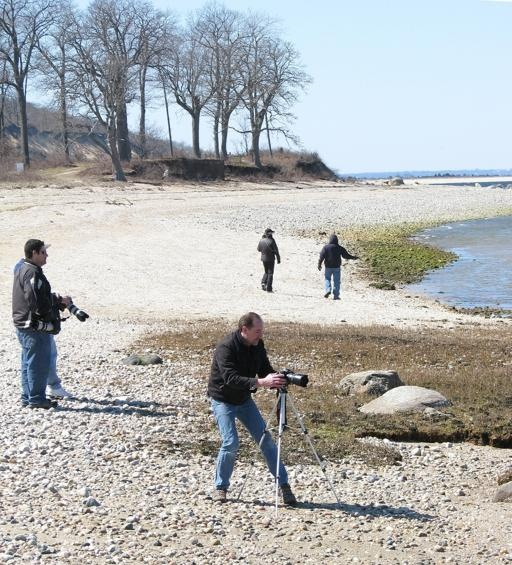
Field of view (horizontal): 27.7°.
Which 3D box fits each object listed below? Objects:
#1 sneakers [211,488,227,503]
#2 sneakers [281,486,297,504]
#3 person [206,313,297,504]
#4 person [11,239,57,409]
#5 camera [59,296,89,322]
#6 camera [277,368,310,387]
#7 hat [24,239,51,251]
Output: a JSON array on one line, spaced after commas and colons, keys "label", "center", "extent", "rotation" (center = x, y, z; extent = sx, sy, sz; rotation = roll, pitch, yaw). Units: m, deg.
[{"label": "sneakers", "center": [-0.420, 2.549, 12.361], "extent": [0.140, 0.105, 0.243], "rotation": [2, 4, -2]}, {"label": "sneakers", "center": [0.419, 2.529, 12.314], "extent": [0.097, 0.219, 0.305], "rotation": [-8, -22, -13]}, {"label": "person", "center": [-0.088, 1.470, 12.350], "extent": [0.934, 2.286, 0.736], "rotation": [0, 11, -4]}, {"label": "person", "center": [-3.163, 0.618, 14.880], "extent": [0.689, 2.470, 0.477], "rotation": [9, 14, 37]}, {"label": "camera", "center": [-2.656, 0.383, 15.080], "extent": [0.261, 0.235, 0.848], "rotation": [-44, 28, -8]}, {"label": "camera", "center": [0.477, 1.123, 11.932], "extent": [0.169, 0.161, 0.307], "rotation": [-11, 16, -37]}, {"label": "hat", "center": [-3.105, -0.497, 14.801], "extent": [0.291, 0.173, 0.211], "rotation": [-10, 21, -26]}]
